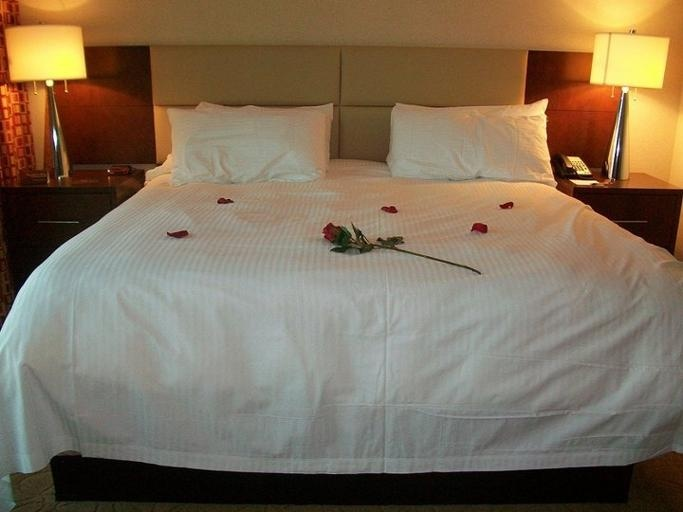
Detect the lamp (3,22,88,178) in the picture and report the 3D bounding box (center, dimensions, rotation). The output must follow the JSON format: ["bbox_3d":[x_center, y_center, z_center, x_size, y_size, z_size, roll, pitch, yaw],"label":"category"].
[{"bbox_3d":[-1.775,-0.937,3.437,0.417,0.908,0.363,-4,14,-20],"label":"lamp"}]

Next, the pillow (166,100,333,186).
[{"bbox_3d":[-0.522,-0.631,3.200,0.704,0.357,0.166,-2,-14,0],"label":"pillow"}]

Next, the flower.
[{"bbox_3d":[0.168,-0.037,2.065,0.431,0.076,0.237,9,12,11],"label":"flower"}]

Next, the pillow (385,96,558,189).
[{"bbox_3d":[0.775,-0.690,3.353,0.950,0.504,0.380,1,12,1],"label":"pillow"}]

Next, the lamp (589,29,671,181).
[{"bbox_3d":[1.741,-0.914,3.464,0.378,0.891,0.217,-1,13,-6],"label":"lamp"}]
